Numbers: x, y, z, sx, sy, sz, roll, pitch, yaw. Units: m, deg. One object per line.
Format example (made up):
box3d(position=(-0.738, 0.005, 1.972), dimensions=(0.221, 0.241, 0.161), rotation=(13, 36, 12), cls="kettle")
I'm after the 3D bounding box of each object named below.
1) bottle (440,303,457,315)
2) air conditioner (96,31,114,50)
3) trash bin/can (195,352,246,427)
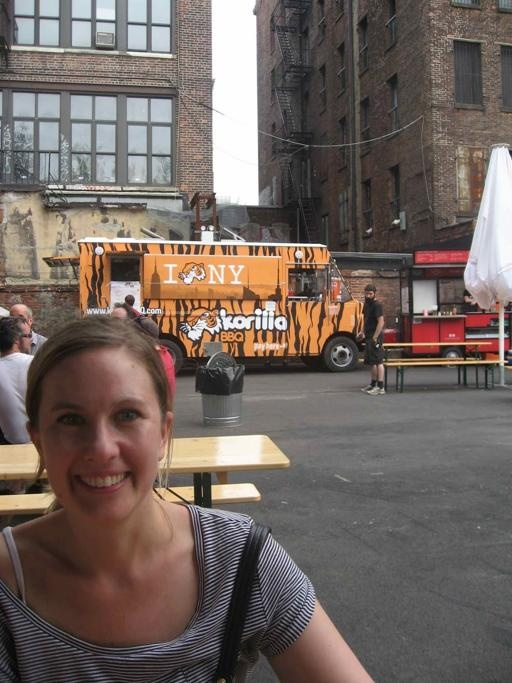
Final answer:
box3d(position=(5.203, -0.906, 20.700), dimensions=(0.192, 0.287, 0.381), rotation=(-1, 1, 0), cls="bottle")
box3d(position=(-4.350, -8.707, 22.062), dimensions=(0.455, 0.454, 0.166), rotation=(0, -2, -20), cls="air conditioner")
box3d(position=(-0.475, 0.630, 10.227), dimensions=(0.718, 1.142, 0.752), rotation=(0, -4, -12), cls="trash bin/can")
